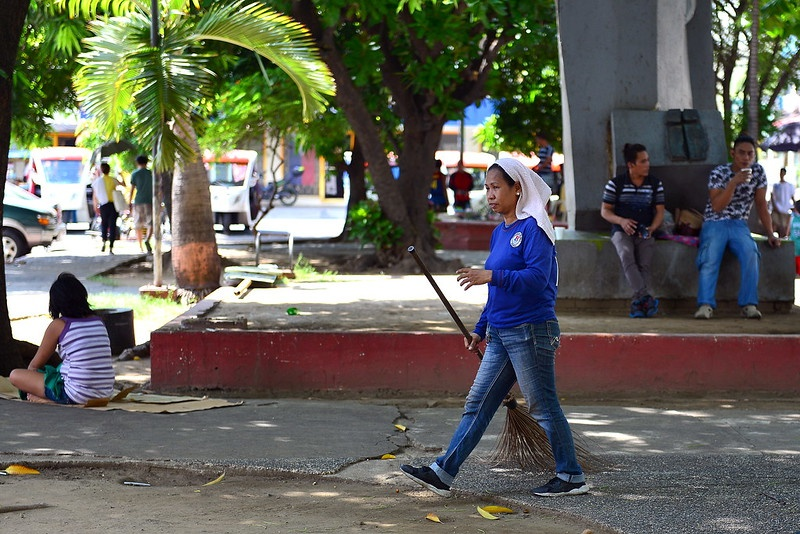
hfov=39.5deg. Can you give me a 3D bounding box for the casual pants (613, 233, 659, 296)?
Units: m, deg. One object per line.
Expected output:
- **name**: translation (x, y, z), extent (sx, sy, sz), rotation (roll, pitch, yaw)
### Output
- **casual pants**: translation (2.832, -0.021, 13.522), extent (0.485, 0.774, 0.353), rotation (3, 14, 10)

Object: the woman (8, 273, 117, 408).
- **woman**: translation (-3.437, 0.714, 11.642), extent (0.953, 1.356, 1.035), rotation (6, 11, 16)

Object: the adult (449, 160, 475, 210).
- **adult**: translation (1.739, -2.006, 30.583), extent (0.716, 1.855, 0.556), rotation (-2, 39, 4)

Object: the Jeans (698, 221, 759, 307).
- **Jeans**: translation (4.028, -0.006, 13.555), extent (0.766, 1.275, 0.481), rotation (1, -26, 9)

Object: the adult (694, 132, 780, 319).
- **adult**: translation (4.087, -0.486, 13.472), extent (0.824, 2.231, 1.086), rotation (4, 14, 17)

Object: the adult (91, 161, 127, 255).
- **adult**: translation (-6.551, -1.280, 24.743), extent (0.542, 2.109, 1.774), rotation (-4, 14, -15)

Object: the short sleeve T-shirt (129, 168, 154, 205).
- **short sleeve T-shirt**: translation (-5.558, -1.711, 23.798), extent (0.425, 0.772, 0.388), rotation (-3, 14, -11)

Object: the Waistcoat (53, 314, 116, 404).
- **Waistcoat**: translation (-3.220, 0.944, 11.326), extent (0.519, 0.868, 0.337), rotation (-4, 14, -19)

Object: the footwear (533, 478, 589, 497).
- **footwear**: translation (1.398, 1.926, 9.700), extent (0.527, 0.224, 0.179), rotation (2, -11, 0)

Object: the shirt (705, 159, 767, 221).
- **shirt**: translation (4.082, -0.910, 13.453), extent (0.837, 0.803, 0.471), rotation (2, 0, -8)

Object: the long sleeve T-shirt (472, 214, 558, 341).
- **long sleeve T-shirt**: translation (1.056, 0.135, 9.909), extent (0.835, 1.073, 0.971), rotation (3, -9, -20)

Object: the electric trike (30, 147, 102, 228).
- **electric trike**: translation (-11.047, -2.648, 35.312), extent (2.517, 2.629, 4.545), rotation (-1, -2, -11)

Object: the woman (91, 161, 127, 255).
- **woman**: translation (-6.543, -1.274, 24.716), extent (0.542, 2.109, 1.716), rotation (-4, 14, -15)

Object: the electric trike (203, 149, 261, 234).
- **electric trike**: translation (-5.101, -2.214, 33.623), extent (1.619, 2.451, 4.656), rotation (0, 3, -6)

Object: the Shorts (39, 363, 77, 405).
- **Shorts**: translation (-3.513, 1.129, 11.473), extent (0.275, 0.140, 0.349), rotation (10, 17, -7)

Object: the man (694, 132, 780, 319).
- **man**: translation (4.099, -0.490, 13.492), extent (0.833, 2.231, 1.133), rotation (4, 14, 17)

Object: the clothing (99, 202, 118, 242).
- **clothing**: translation (-6.471, -1.056, 24.547), extent (0.418, 0.985, 0.292), rotation (26, 29, 34)

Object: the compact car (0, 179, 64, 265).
- **compact car**: translation (-7.665, -0.870, 23.155), extent (1.154, 1.284, 1.616), rotation (-4, 13, -15)
